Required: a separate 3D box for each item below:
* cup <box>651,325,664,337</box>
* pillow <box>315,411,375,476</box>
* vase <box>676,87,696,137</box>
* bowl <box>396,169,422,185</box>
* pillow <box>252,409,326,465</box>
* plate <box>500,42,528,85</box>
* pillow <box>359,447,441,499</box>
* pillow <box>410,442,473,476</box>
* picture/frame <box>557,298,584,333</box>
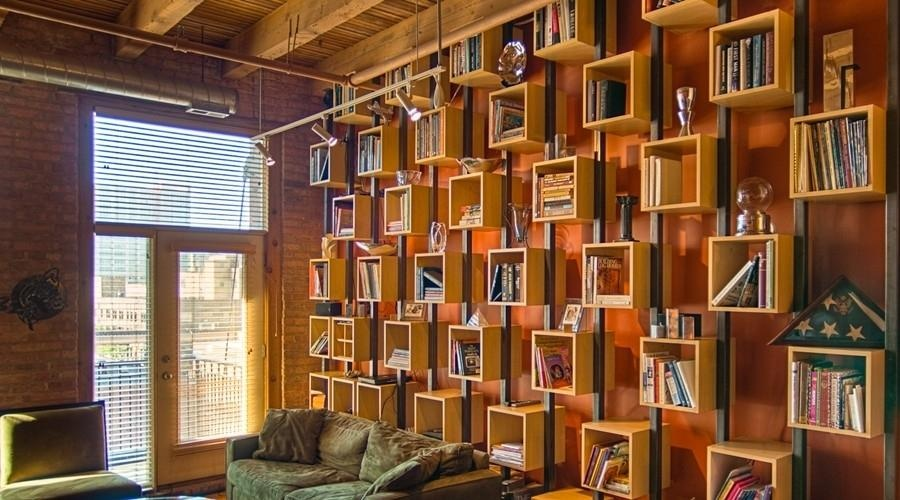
[{"bbox_3d":[1.929,0.751,7.295,0.110,0.095,0.105,0,-4,0],"label":"cup"},{"bbox_3d":[-1.135,2.068,8.439,0.577,0.514,0.218,-3,-19,38],"label":"pillow"},{"bbox_3d":[2.208,-1.295,7.265,0.172,0.527,0.269,-3,-7,16],"label":"vase"},{"bbox_3d":[-0.483,-0.842,9.044,0.231,0.137,0.232,-1,-6,0],"label":"bowl"},{"bbox_3d":[-1.758,2.037,8.584,0.671,0.557,0.191,3,-21,10],"label":"pillow"},{"bbox_3d":[0.685,-1.977,8.199,0.334,0.456,0.275,10,16,16],"label":"plate"},{"bbox_3d":[-0.440,2.076,7.287,0.742,0.414,0.264,0,-7,-8],"label":"pillow"},{"bbox_3d":[0.029,1.967,7.411,0.353,0.132,0.380,-2,-2,-39],"label":"pillow"},{"bbox_3d":[1.211,0.642,7.790,0.035,0.415,0.355,23,-10,-31],"label":"picture/frame"}]
